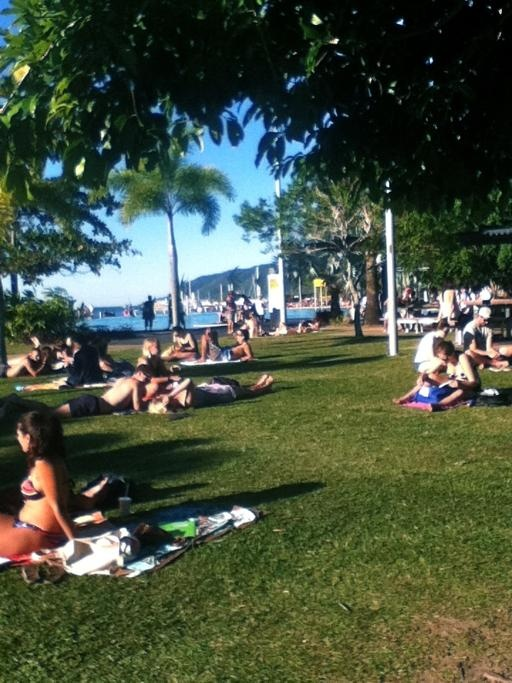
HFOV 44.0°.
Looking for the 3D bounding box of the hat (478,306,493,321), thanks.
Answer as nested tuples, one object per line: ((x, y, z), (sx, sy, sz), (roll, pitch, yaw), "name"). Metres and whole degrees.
((4.396, -0.551, 12.158), (0.235, 0.175, 0.311), (-2, 24, -4), "hat")

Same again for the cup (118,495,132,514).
((-1.026, 1.273, 4.980), (0.141, 0.127, 0.134), (5, -1, 0), "cup")
